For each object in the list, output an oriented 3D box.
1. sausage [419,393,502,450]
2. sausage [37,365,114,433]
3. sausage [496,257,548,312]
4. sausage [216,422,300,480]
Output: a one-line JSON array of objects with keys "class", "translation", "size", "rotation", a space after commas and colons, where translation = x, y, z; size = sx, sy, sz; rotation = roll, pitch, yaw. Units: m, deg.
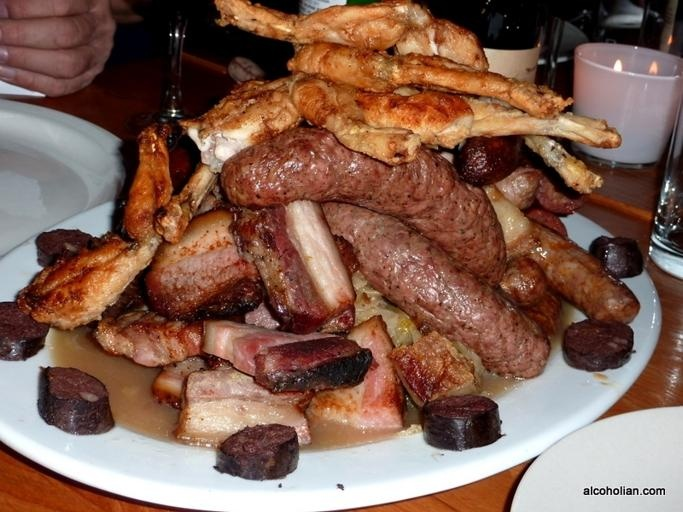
[{"class": "sausage", "translation": [0.274, 0.379, 1.515], "size": [0.188, 0.061, 0.163], "rotation": [-6, 11, -19]}, {"class": "sausage", "translation": [-0.616, 0.321, 1.473], "size": [0.199, 0.041, 0.121], "rotation": [21, 17, 33]}, {"class": "sausage", "translation": [0.528, 0.086, 1.960], "size": [0.154, 0.077, 0.137], "rotation": [-6, 50, -5]}, {"class": "sausage", "translation": [-0.176, 0.413, 1.371], "size": [0.160, 0.037, 0.095], "rotation": [3, 20, 8]}]
